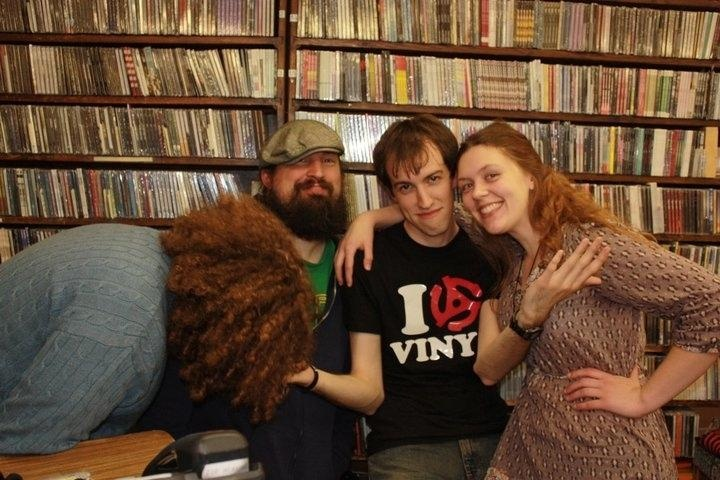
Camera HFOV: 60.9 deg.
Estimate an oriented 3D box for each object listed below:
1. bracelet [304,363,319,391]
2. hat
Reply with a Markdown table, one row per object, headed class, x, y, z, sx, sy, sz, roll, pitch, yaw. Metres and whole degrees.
| class | x | y | z | sx | sy | sz | roll | pitch | yaw |
| --- | --- | --- | --- | --- | --- | --- | --- | --- | --- |
| bracelet | -0.207 | 0.556 | 2.462 | 0.035 | 0.089 | 0.084 | 1 | -40 | -14 |
| hat | -0.278 | -0.511 | 3.277 | 0.444 | 0.237 | 0.568 | -6 | 4 | -21 |
